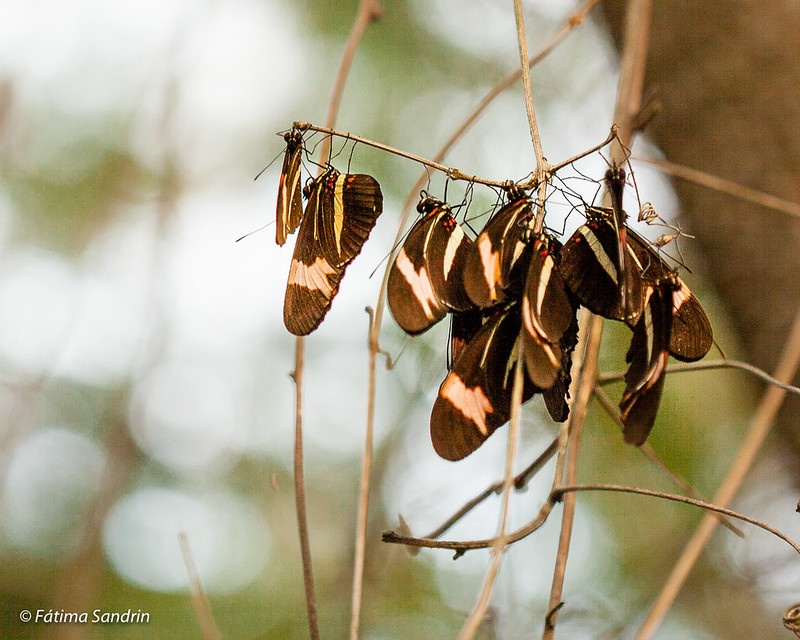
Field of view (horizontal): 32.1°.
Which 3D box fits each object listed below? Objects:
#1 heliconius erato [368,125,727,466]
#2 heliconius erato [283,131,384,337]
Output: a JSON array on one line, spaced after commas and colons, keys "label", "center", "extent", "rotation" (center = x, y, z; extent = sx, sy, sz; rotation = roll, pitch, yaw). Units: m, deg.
[{"label": "heliconius erato", "center": [0.172, -0.022, 1.715], "extent": [0.469, 0.257, 0.437], "rotation": [1, -100, 9]}, {"label": "heliconius erato", "center": [-0.117, -0.142, 1.910], "extent": [0.089, 0.258, 0.200], "rotation": [-16, -102, 2]}]
